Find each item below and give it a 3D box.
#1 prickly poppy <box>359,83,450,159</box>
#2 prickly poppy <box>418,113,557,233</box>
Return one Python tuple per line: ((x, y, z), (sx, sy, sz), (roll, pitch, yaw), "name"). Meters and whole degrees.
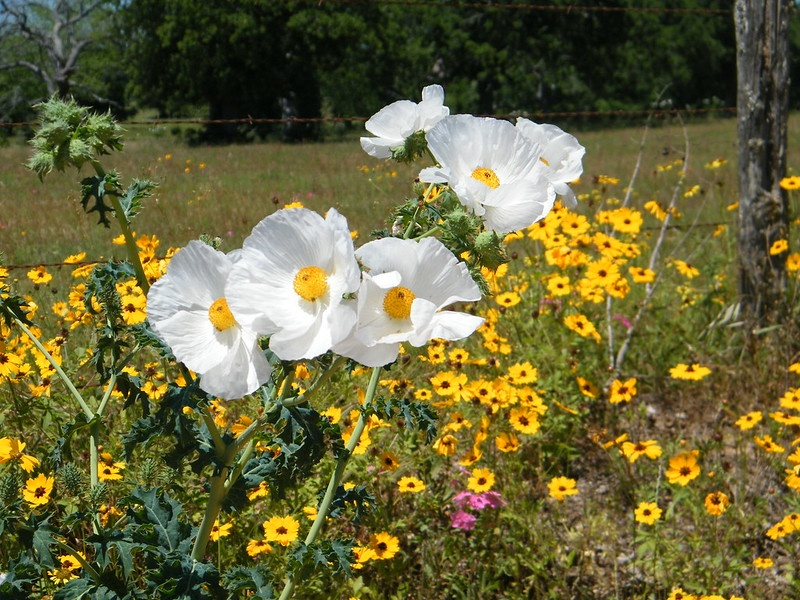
((0.027, -0.859, 5.476), (0.377, 0.163, 0.336), (-27, 22, 9), "prickly poppy")
((0.412, -0.681, 5.389), (0.516, 0.255, 0.520), (-6, -12, 27), "prickly poppy")
